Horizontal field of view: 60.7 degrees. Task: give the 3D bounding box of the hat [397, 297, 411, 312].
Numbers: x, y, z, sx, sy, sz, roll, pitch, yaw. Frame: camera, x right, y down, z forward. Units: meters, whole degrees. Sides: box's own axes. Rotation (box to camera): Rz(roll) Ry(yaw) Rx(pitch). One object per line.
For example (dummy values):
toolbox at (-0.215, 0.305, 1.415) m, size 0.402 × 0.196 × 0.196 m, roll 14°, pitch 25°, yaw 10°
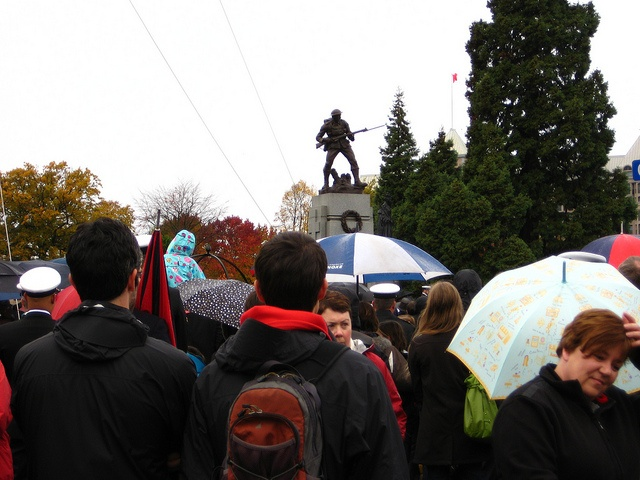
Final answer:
hat at (1.305, 1.037, 8.778) m, size 0.235 × 0.270 × 0.191 m, roll -8°, pitch -4°, yaw 23°
